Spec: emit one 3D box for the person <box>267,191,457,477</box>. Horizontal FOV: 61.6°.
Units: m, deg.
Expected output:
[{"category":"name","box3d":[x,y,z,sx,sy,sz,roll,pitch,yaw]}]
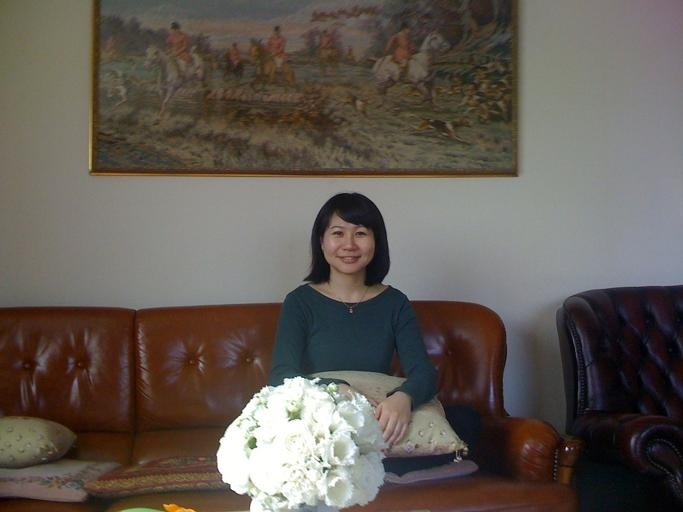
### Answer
[{"category":"person","box3d":[0.036,0.284,2.451,0.748,1.189,0.768,3,-11,-26]}]
